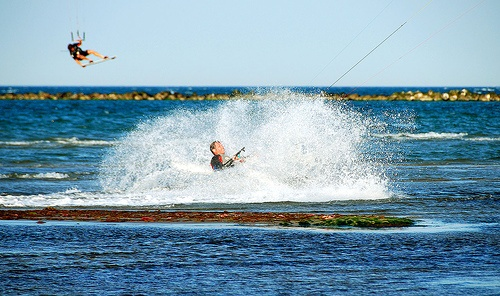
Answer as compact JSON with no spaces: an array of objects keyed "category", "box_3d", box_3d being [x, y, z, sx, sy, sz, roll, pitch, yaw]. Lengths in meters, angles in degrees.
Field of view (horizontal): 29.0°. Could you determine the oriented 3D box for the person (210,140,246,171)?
[{"category":"person","box_3d":[-1.410,0.495,51.541,1.853,1.349,1.183,18,23,28]}]
